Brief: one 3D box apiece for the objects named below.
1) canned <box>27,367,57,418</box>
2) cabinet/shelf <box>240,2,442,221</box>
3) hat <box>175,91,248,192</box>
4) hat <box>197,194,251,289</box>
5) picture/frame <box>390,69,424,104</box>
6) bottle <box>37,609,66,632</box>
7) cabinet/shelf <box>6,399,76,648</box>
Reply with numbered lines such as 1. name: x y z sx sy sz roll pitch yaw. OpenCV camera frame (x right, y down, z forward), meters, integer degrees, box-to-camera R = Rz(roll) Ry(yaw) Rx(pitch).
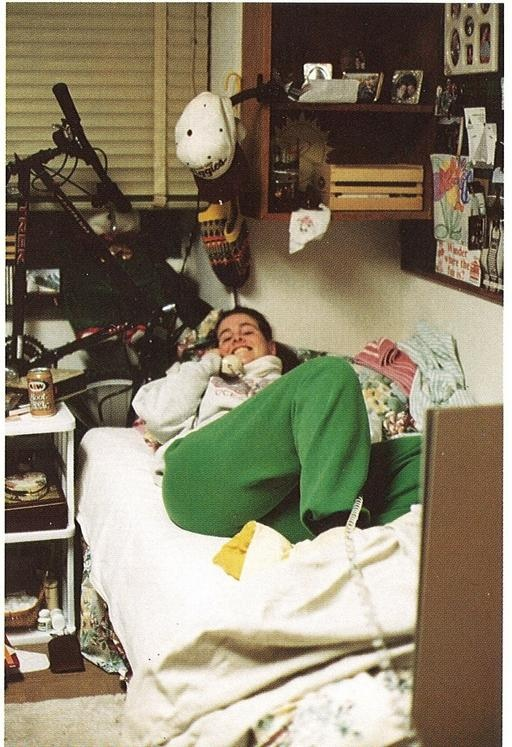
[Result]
1. canned: -0.537 0.041 1.604 0.056 0.120 0.168 -4 8 -5
2. cabinet/shelf: 0.237 -0.764 1.793 0.624 0.745 0.258 -1 6 -6
3. hat: -0.127 -0.606 1.577 0.113 0.197 0.128 3 10 38
4. hat: -0.083 -0.381 1.851 0.091 0.275 0.110 -12 46 3
5. picture/frame: 0.442 -0.837 1.820 0.115 0.117 0.011 11 6 34
6. bottle: -0.529 0.642 1.613 0.072 0.070 0.042 4 -3 -5
7. cabinet/shelf: -0.571 0.382 1.673 0.204 0.590 0.371 -6 8 -18
